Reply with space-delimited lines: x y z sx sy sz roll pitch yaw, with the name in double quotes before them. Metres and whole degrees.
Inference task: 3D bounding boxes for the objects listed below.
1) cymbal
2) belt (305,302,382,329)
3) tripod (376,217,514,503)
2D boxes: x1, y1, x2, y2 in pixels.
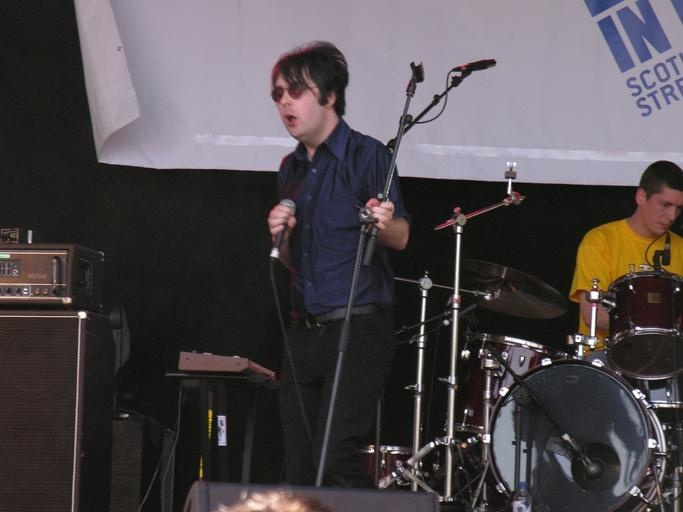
"cymbal" 0.947 0.157 5.522 0.622 0.378 0.452 2 1 22
"belt" 0.003 0.274 4.325 0.364 0.099 0.126 0 -4 2
"tripod" 0.558 0.512 5.367 0.438 1.691 0.451 3 2 -17
